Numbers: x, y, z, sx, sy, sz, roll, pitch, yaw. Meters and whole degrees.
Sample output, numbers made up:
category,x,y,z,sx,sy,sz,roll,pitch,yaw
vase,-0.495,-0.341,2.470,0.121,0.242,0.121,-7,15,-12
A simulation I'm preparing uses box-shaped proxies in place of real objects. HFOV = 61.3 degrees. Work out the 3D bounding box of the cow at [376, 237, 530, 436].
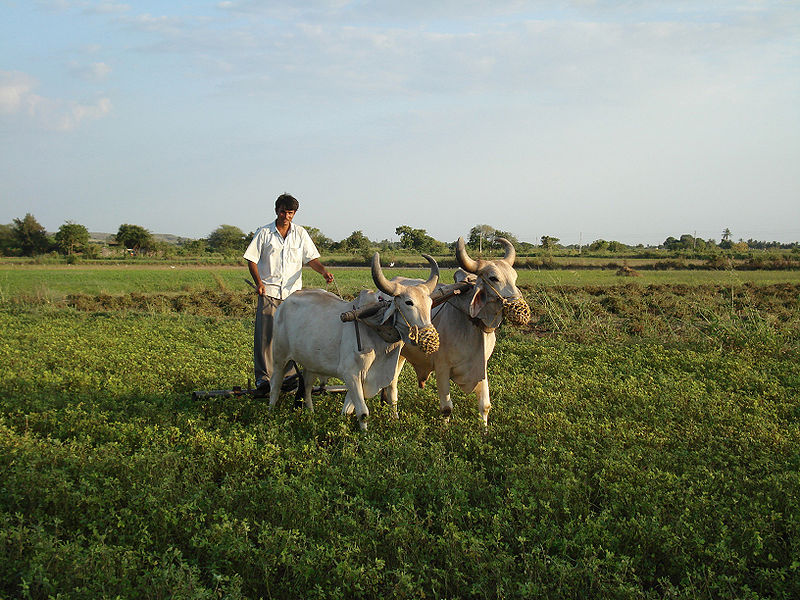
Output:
category,x,y,z,sx,sy,sz,roll,pitch,yaw
cow,0.767,0.616,10.144,1.058,2.795,3.186,5,-7,-29

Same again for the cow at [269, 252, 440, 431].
category,x,y,z,sx,sy,sz,roll,pitch,yaw
cow,-0.638,0.513,9.339,2.740,2.264,0.990,3,4,41
